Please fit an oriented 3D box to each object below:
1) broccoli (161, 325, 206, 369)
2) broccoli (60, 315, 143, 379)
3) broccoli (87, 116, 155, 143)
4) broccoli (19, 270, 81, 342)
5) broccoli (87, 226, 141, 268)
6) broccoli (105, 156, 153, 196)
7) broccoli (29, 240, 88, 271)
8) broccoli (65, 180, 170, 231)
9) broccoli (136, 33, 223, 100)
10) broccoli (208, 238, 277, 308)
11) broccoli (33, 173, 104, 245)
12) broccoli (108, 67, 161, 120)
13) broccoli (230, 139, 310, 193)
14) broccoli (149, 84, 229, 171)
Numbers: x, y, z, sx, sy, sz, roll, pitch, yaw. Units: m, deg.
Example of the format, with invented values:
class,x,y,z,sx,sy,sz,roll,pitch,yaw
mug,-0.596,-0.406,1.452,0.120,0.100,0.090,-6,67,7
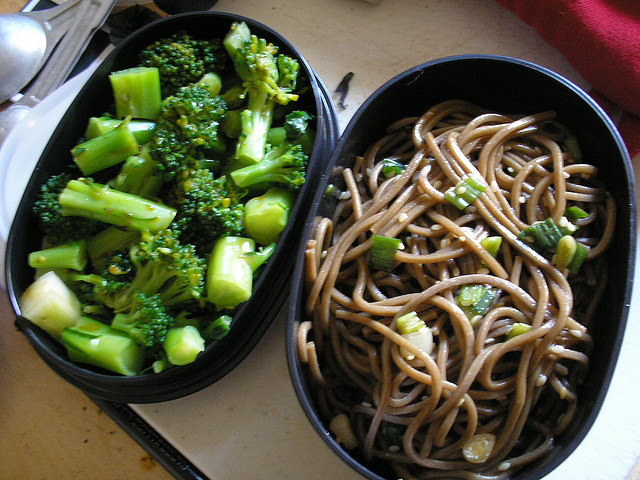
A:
class,x,y,z,sx,sy,sz,roll,pitch,yaw
broccoli,-0.454,0.367,2.015,0.130,0.142,0.093,30,-3,14
broccoli,-0.794,0.388,2.058,0.323,0.109,0.164,6,10,15
broccoli,-0.759,-0.427,2.200,0.205,0.072,0.100,-4,59,2
broccoli,-0.933,0.237,2.017,0.230,0.191,0.083,53,-15,-11
broccoli,-0.777,0.021,2.186,0.130,0.164,0.048,33,-12,11
broccoli,-0.693,-0.229,2.089,0.162,0.141,0.046,17,4,-7
broccoli,-0.959,0.068,2.092,0.192,0.082,0.109,-11,73,-49
broccoli,-0.736,-0.119,2.131,0.449,0.140,0.149,11,-23,0
broccoli,-0.540,-0.700,2.339,0.319,0.266,0.135,17,-17,-4
broccoli,-0.277,0.110,2.058,0.143,0.254,0.219,60,23,-53
broccoli,-0.940,-0.115,2.171,0.240,0.244,0.144,-3,0,-6
broccoli,-0.727,-0.576,2.310,0.211,0.189,0.189,1,24,9
broccoli,-0.238,-0.251,2.163,0.300,0.148,0.215,-23,5,-24
broccoli,-0.494,-0.409,2.126,0.219,0.270,0.262,19,27,-20
